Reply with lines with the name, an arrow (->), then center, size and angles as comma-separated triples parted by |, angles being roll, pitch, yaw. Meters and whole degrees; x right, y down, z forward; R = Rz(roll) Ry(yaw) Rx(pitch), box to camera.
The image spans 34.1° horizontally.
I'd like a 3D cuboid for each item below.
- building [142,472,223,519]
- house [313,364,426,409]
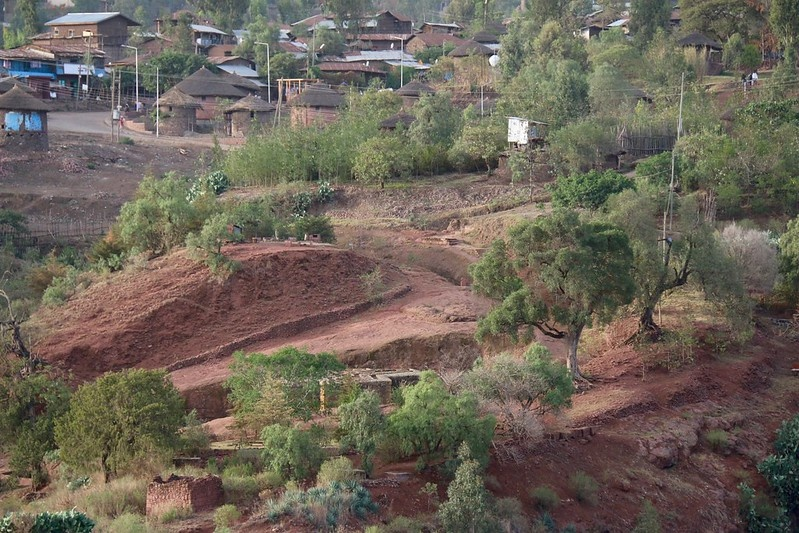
building -> -10.615, 11.053, 63.411 | 2.208, 1.695, 2.297 | 1, 0, -28
house -> -1.848, 6.395, 70.386 | 5.590, 1.616, 2.578 | -7, 13, -22
